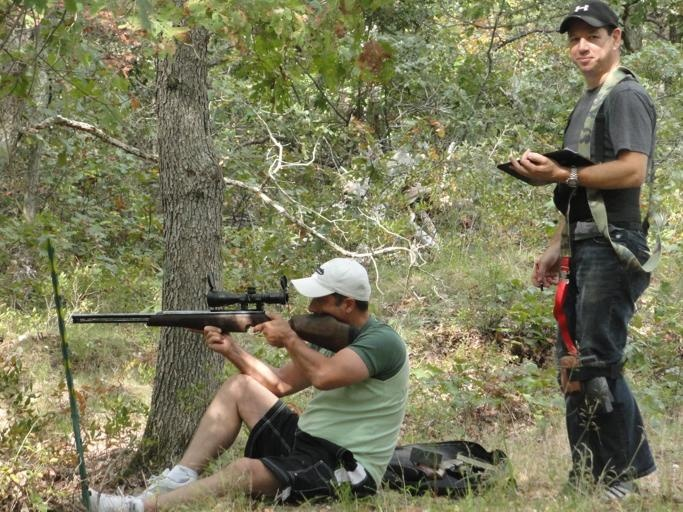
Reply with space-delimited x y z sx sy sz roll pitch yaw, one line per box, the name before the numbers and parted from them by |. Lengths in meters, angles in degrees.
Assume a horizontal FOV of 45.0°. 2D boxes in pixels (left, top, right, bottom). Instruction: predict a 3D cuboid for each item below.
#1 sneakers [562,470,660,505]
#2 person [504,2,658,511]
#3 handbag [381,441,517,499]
sneakers | 2.141 1.847 6.585 0.480 0.210 0.153 -9 -6 4
person | 2.074 -0.081 6.788 0.994 3.979 0.652 -1 1 21
handbag | 0.849 1.900 7.418 0.784 0.265 1.053 -36 -34 10
